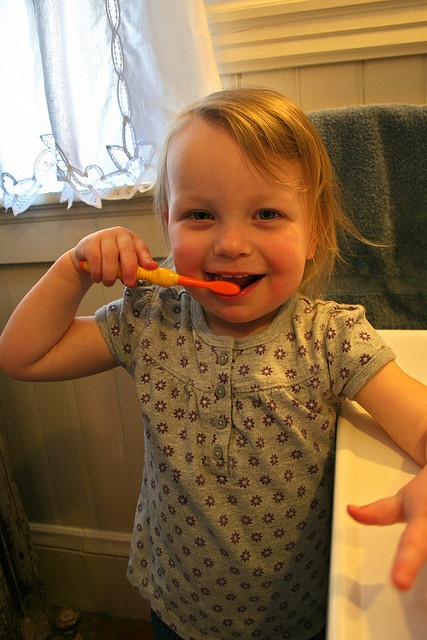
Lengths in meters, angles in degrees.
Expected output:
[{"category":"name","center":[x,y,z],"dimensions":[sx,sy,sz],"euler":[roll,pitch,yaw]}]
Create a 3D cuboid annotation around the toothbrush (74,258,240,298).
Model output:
[{"category":"toothbrush","center":[-0.063,-0.049,0.617],"dimensions":[0.185,0.026,0.022],"euler":[13,60,23]}]
